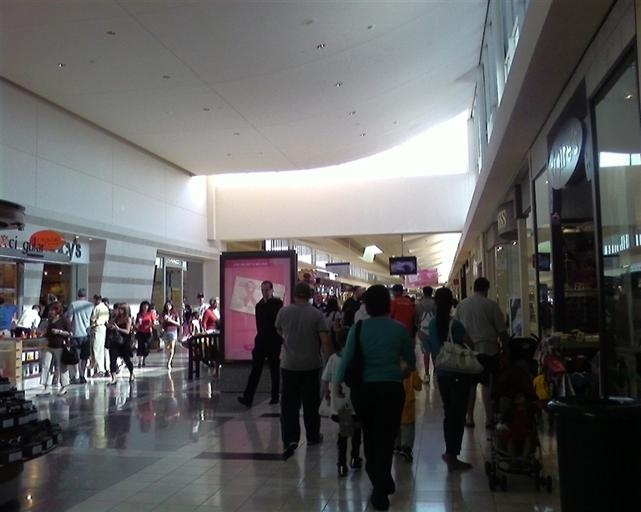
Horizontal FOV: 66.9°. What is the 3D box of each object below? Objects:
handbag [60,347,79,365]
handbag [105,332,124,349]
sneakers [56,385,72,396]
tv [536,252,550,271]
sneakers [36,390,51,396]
[{"bbox_3d":[-5.328,2.110,10.252,0.187,0.388,0.361,-2,-10,18],"label":"handbag"},{"bbox_3d":[-4.755,1.956,11.235,0.369,0.419,0.199,1,9,-9],"label":"handbag"},{"bbox_3d":[-5.399,2.815,10.192,0.179,0.259,0.541,1,-10,-1],"label":"sneakers"},{"bbox_3d":[3.369,0.083,7.378,0.060,0.276,0.270,4,-4,-23],"label":"tv"},{"bbox_3d":[-5.707,2.822,10.003,0.243,0.113,0.097,8,-17,-5],"label":"sneakers"}]
